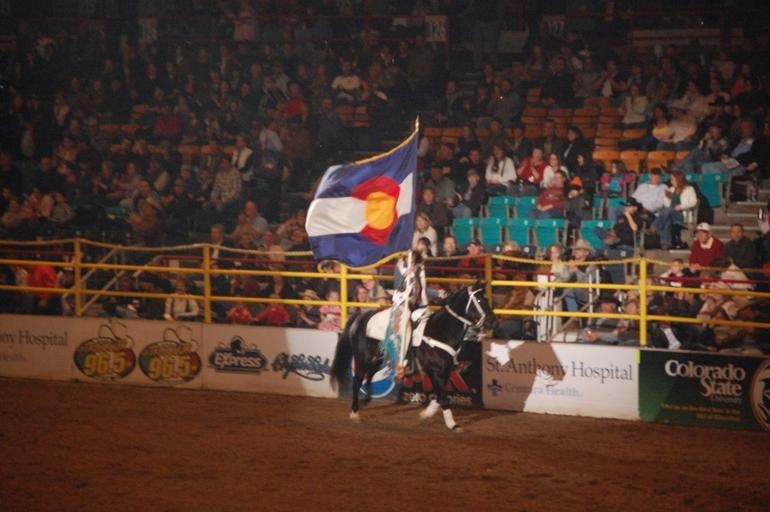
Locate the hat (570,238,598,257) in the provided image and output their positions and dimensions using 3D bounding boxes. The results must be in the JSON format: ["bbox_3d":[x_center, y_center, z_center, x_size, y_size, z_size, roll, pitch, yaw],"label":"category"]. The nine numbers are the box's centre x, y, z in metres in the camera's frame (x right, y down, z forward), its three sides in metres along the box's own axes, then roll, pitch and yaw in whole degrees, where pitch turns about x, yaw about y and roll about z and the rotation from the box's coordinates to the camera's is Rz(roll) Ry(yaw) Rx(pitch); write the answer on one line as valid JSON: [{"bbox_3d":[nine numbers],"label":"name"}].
[{"bbox_3d":[5.257,-0.191,34.178,0.642,0.460,1.338,1,-2,8],"label":"hat"}]

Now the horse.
[{"bbox_3d":[0.674,2.428,31.354,4.908,3.314,1.367,-2,-5,38],"label":"horse"}]

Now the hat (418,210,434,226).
[{"bbox_3d":[1.074,-0.979,34.896,0.316,0.380,0.413,-9,-11,4],"label":"hat"}]
